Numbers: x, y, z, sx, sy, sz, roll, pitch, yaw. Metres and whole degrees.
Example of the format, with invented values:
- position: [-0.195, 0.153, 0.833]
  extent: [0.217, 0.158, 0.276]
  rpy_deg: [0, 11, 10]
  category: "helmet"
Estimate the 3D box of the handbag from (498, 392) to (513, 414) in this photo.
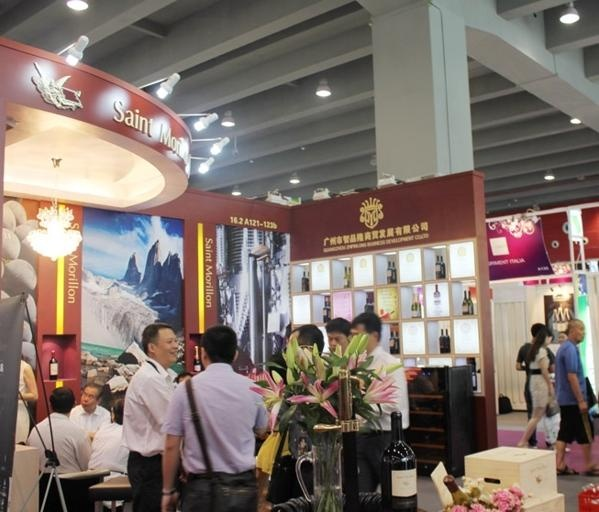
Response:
- position: [4.295, 3.076, 10.888]
  extent: [0.145, 0.419, 0.365]
  rpy_deg: [-14, -13, 40]
  category: "handbag"

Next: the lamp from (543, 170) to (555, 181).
- position: [6.445, -2.033, 13.447]
  extent: [0.275, 0.289, 0.286]
  rpy_deg: [-1, 5, 16]
  category: "lamp"

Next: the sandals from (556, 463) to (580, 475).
- position: [3.070, 2.433, 5.958]
  extent: [0.286, 0.112, 0.108]
  rpy_deg: [0, -7, -11]
  category: "sandals"

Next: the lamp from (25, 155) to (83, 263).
- position: [-2.718, -0.497, 5.894]
  extent: [0.569, 1.061, 0.946]
  rpy_deg: [3, -9, -26]
  category: "lamp"

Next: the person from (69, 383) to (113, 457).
- position: [-2.345, 1.859, 5.826]
  extent: [0.388, 0.826, 0.449]
  rpy_deg: [7, 0, 14]
  category: "person"

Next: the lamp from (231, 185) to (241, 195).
- position: [-1.759, -1.808, 14.628]
  extent: [0.273, 0.298, 0.274]
  rpy_deg: [6, -6, -37]
  category: "lamp"

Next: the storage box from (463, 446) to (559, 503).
- position: [0.919, 0.938, 2.256]
  extent: [0.260, 0.194, 0.450]
  rpy_deg: [-9, -11, 43]
  category: "storage box"

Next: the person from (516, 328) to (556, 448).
- position: [3.249, 1.794, 7.179]
  extent: [0.508, 1.702, 1.005]
  rpy_deg: [-5, -9, 26]
  category: "person"

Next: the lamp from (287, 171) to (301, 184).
- position: [-0.131, -2.058, 13.815]
  extent: [0.263, 0.298, 0.273]
  rpy_deg: [-2, 3, -42]
  category: "lamp"

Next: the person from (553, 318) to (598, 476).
- position: [3.202, 1.626, 6.148]
  extent: [0.417, 1.735, 0.725]
  rpy_deg: [-5, -9, 28]
  category: "person"

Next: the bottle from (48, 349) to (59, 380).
- position: [-2.907, 1.293, 6.197]
  extent: [0.108, 0.333, 0.244]
  rpy_deg: [2, -9, -25]
  category: "bottle"
